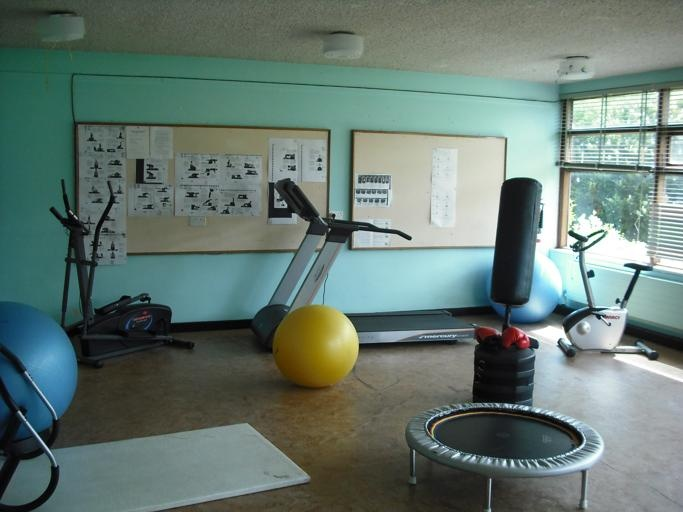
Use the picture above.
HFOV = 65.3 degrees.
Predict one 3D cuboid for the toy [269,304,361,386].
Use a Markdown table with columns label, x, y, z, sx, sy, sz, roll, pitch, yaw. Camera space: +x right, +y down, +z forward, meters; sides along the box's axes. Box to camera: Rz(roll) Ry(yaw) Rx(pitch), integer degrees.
| label | x | y | z | sx | sy | sz | roll | pitch | yaw |
| --- | --- | --- | --- | --- | --- | --- | --- | --- | --- |
| toy | -0.219 | 0.791 | 4.834 | 0.675 | 0.709 | 0.688 | 1 | 13 | -36 |

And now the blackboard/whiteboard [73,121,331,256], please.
| label | x | y | z | sx | sy | sz | roll | pitch | yaw |
| --- | --- | --- | --- | --- | --- | --- | --- | --- | --- |
| blackboard/whiteboard | -1.565 | -0.799 | 6.135 | 2.860 | 1.455 | 0.119 | 3 | 10 | -20 |

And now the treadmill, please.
| label | x | y | z | sx | sy | sz | roll | pitch | yaw |
| --- | --- | --- | --- | --- | --- | --- | --- | --- | --- |
| treadmill | 0.006 | -0.065 | 6.397 | 2.609 | 1.818 | 1.414 | 1 | 10 | -30 |
